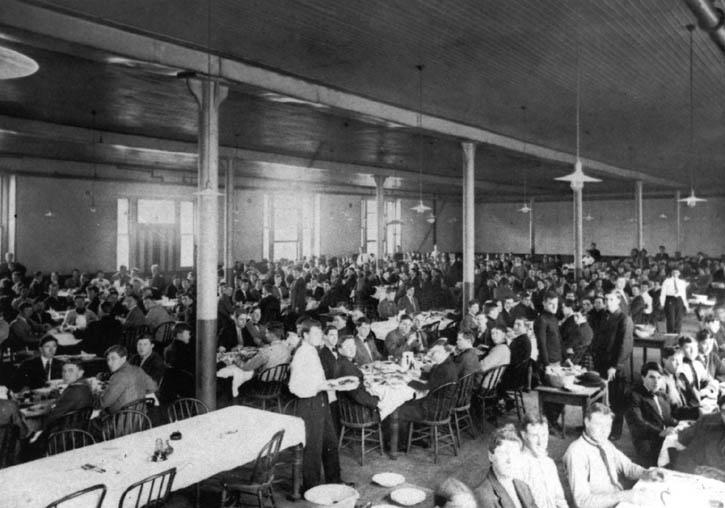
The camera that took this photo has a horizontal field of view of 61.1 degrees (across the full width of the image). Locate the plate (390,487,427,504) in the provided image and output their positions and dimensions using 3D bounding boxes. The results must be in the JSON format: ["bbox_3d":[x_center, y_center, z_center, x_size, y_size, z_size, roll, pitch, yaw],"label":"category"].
[{"bbox_3d":[0.541,2.869,7.250,0.269,0.067,0.262,-1,-1,37],"label":"plate"}]

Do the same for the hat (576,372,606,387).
[{"bbox_3d":[3.503,1.908,9.297,0.295,0.106,0.248,-2,3,-22],"label":"hat"}]
